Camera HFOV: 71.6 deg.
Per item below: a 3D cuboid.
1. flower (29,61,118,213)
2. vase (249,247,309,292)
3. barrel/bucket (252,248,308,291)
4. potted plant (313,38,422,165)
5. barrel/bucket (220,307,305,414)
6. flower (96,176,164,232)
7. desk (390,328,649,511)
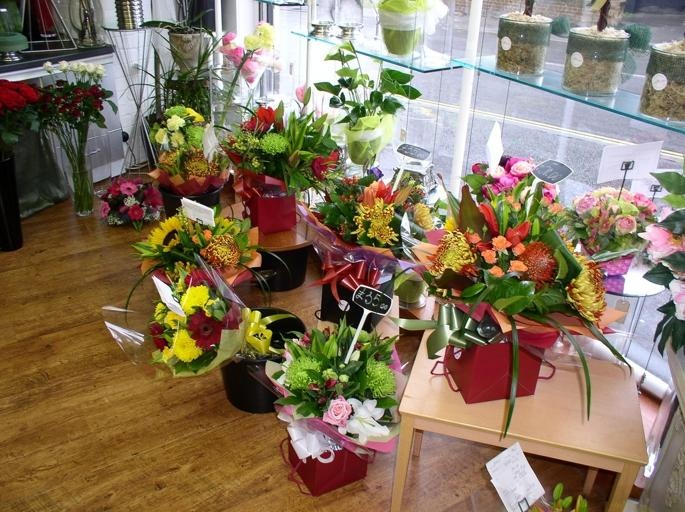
[{"bbox_3d":[-2.004,-0.899,3.668,0.545,1.091,0.593,1,9,-40],"label":"flower"},{"bbox_3d":[-0.362,0.109,2.850,0.301,0.215,0.266,-19,36,-29],"label":"vase"},{"bbox_3d":[-0.357,0.111,2.864,0.290,0.202,0.268,1,33,-1],"label":"barrel/bucket"},{"bbox_3d":[0.132,-0.799,2.713,0.612,0.558,0.633,2,34,-23],"label":"potted plant"},{"bbox_3d":[-0.336,0.467,2.249,0.471,0.363,0.478,5,38,-4],"label":"barrel/bucket"},{"bbox_3d":[-1.698,-0.379,3.825,0.509,0.302,0.459,7,3,12],"label":"flower"},{"bbox_3d":[0.627,0.647,1.837,0.744,0.524,0.521,8,44,1],"label":"desk"}]
